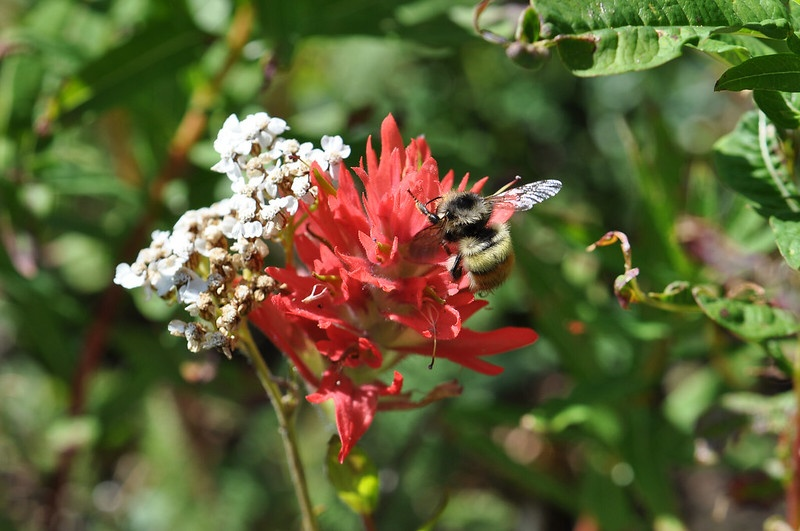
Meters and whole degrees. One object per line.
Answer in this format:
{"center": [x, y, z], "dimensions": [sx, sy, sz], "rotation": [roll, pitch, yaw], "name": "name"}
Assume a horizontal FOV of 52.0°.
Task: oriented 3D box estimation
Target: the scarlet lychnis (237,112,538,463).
{"center": [-0.054, 0.056, 2.414], "dimensions": [0.774, 0.853, 0.522], "rotation": [-21, 32, -16], "name": "scarlet lychnis"}

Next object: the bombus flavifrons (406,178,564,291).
{"center": [0.268, -0.174, 2.510], "dimensions": [0.354, 0.415, 0.352], "rotation": [1, 11, 8], "name": "bombus flavifrons"}
